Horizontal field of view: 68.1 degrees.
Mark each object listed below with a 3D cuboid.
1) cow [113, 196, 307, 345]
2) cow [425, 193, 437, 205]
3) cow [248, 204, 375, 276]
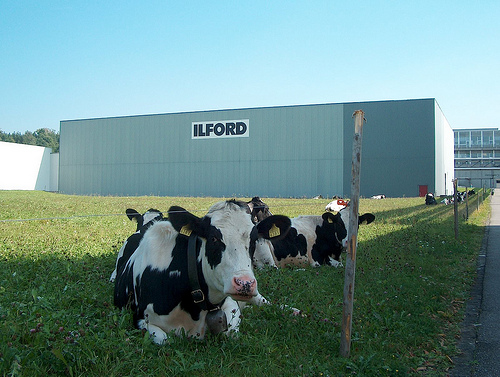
[{"bbox_3d":[-0.824,1.144,5.100,1.538,1.188,2.113,2,0,-15],"label":"cow"},{"bbox_3d":[13.182,0.838,27.075,0.609,0.516,0.980,3,-11,11],"label":"cow"},{"bbox_3d":[1.464,1.604,10.398,2.986,1.614,1.354,-2,-16,2],"label":"cow"}]
